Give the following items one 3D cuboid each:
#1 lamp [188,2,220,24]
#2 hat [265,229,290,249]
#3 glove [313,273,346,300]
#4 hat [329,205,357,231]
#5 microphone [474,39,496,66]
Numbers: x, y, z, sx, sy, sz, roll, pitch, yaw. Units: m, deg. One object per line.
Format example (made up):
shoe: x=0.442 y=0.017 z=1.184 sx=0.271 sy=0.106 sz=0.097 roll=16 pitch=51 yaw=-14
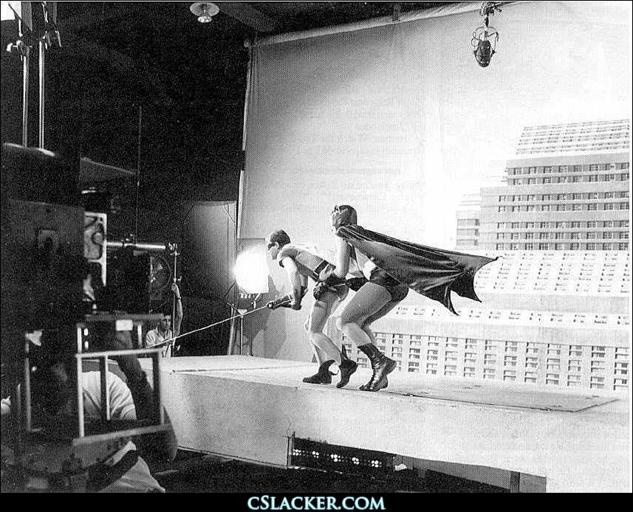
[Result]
lamp: x=-0.617 y=-1.356 z=5.031 sx=0.122 sy=0.128 sz=0.119 roll=-3 pitch=41 yaw=-7
hat: x=-0.206 y=-0.089 z=4.955 sx=0.113 sy=0.106 sz=0.085 roll=-26 pitch=6 yaw=5
glove: x=0.069 y=0.166 z=4.779 sx=0.146 sy=0.114 sz=0.076 roll=-10 pitch=-2 yaw=4
hat: x=0.137 y=-0.218 z=4.880 sx=0.141 sy=0.142 sz=0.106 roll=-30 pitch=26 yaw=-32
microphone: x=0.880 y=-1.070 z=4.832 sx=0.100 sy=0.133 sz=0.130 roll=12 pitch=11 yaw=18
